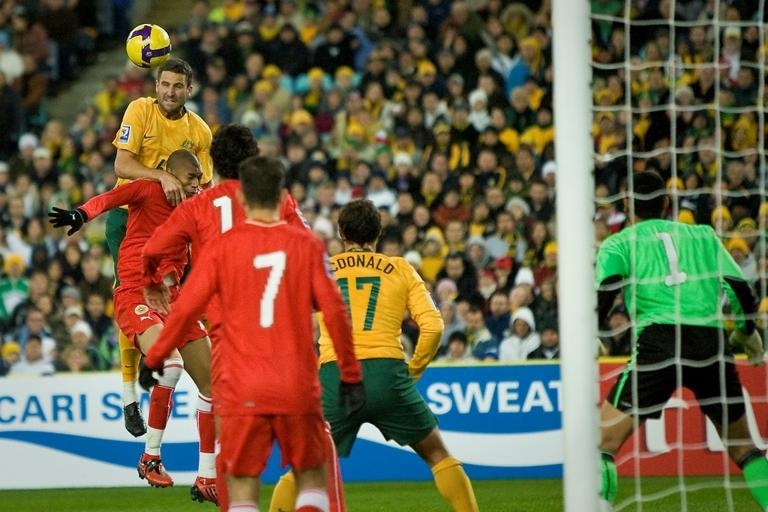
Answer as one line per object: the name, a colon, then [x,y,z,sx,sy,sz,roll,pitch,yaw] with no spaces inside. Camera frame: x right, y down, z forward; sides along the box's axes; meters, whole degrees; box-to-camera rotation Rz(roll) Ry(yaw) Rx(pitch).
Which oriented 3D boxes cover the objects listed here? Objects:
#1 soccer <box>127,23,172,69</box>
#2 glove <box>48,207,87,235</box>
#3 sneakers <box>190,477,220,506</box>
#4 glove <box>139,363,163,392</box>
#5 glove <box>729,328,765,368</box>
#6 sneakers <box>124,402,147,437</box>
soccer: [-2.333,-2.092,12.409,0.401,0.499,0.309,2,-12,-12]
glove: [-3.039,-0.357,12.026,0.333,0.268,0.117,-23,4,-1]
sneakers: [-1.732,2.233,12.037,0.149,0.240,0.435,2,2,6]
glove: [-2.090,1.047,11.150,0.204,0.272,0.094,7,14,-10]
glove: [3.541,0.855,12.197,0.348,0.108,0.292,31,-41,-23]
sneakers: [-2.448,1.614,12.315,0.146,0.392,0.173,-17,-33,-30]
